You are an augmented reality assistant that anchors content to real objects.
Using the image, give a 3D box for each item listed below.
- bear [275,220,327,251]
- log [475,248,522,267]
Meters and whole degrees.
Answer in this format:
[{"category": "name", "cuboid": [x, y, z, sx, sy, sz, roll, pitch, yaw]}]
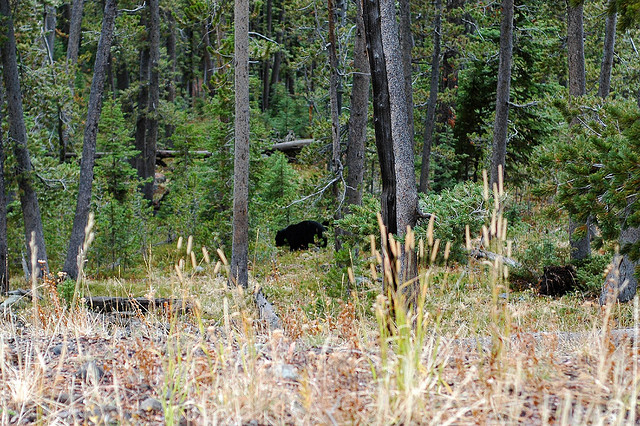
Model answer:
[{"category": "bear", "cuboid": [-0.774, 0.959, 38.478, 2.339, 1.517, 0.889, -3, -10, 6]}, {"category": "log", "cuboid": [5.182, 1.326, 28.469, 1.676, 0.280, 0.305, 23, -11, 1]}]
